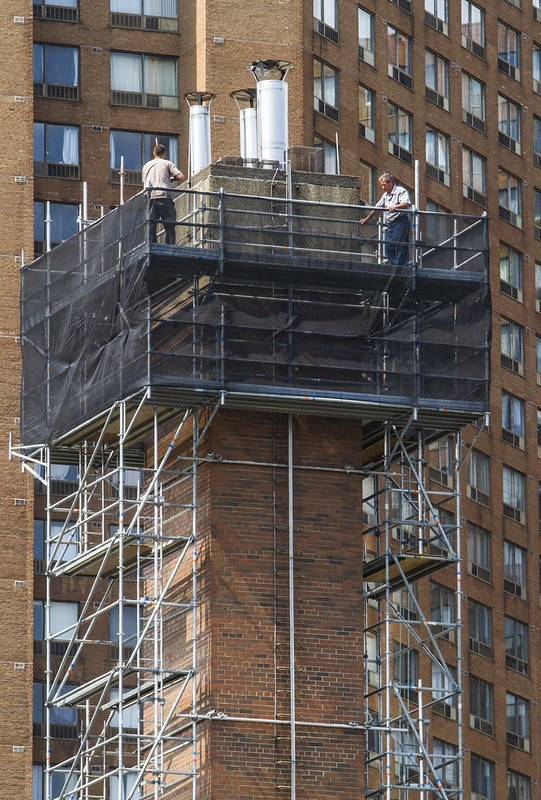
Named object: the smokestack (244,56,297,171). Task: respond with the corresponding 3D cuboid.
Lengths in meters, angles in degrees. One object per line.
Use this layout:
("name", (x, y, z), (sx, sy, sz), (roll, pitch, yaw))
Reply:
("smokestack", (0.046, -6.067, 61.551), (0.867, 3.045, 1.035), (0, -22, -1))

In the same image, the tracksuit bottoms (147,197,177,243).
("tracksuit bottoms", (-2.174, -3.765, 58.242), (0.521, 0.933, 1.594), (-1, 3, -2))

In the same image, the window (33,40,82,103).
("window", (-6.625, -10.351, 89.056), (1.592, 2.298, 0.072), (0, -14, -12))

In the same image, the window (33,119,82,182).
("window", (-6.594, -7.861, 88.458), (1.489, 2.013, 0.067), (6, -13, -31))

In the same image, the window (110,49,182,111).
("window", (-3.850, -10.172, 89.636), (1.441, 1.487, 0.123), (2, -17, -6))

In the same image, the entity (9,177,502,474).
("entity", (0.079, -1.624, 59.193), (5.810, 3.822, 6.560), (6, -16, -20))
